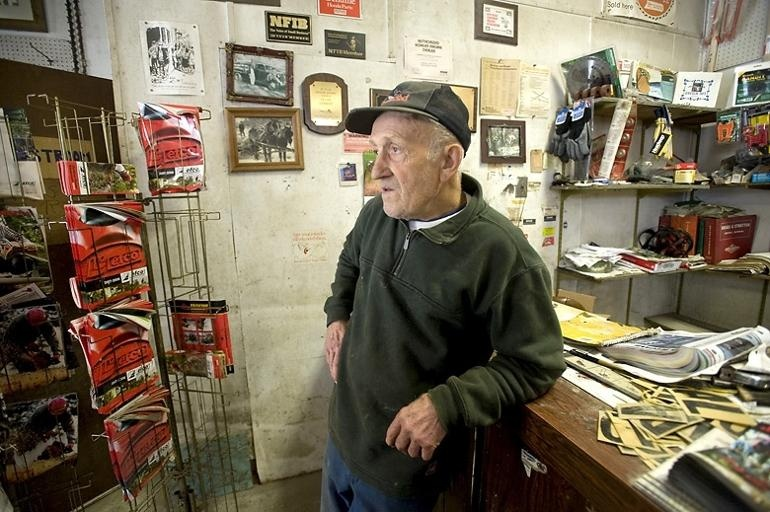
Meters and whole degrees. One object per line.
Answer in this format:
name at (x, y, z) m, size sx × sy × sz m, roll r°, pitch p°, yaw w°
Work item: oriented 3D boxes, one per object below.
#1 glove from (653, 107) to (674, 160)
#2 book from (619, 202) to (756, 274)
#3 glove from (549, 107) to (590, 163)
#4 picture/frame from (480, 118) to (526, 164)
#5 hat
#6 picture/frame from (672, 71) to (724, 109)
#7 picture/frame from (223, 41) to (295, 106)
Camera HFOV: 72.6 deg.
glove at (2.035, -0.897, 3.851) m, size 0.135 × 0.379 × 0.287 m, roll 3°, pitch 12°, yaw 26°
book at (2.266, -0.180, 3.992) m, size 0.970 × 0.439 × 0.483 m, roll -6°, pitch 11°, yaw -18°
glove at (1.276, -0.842, 3.611) m, size 0.141 × 0.434 × 0.377 m, roll 2°, pitch 3°, yaw -19°
picture/frame at (0.804, -0.815, 3.650) m, size 0.313 × 0.281 × 0.044 m, roll -1°, pitch 7°, yaw -20°
hat at (0.101, -0.645, 2.531) m, size 0.502 × 0.250 × 0.354 m, roll 17°, pitch 4°, yaw -15°
picture/frame at (2.236, -1.211, 3.817) m, size 0.303 × 0.302 × 0.286 m, roll 10°, pitch 20°, yaw 17°
picture/frame at (-0.796, -1.130, 3.213) m, size 0.390 × 0.371 × 0.067 m, roll 1°, pitch 12°, yaw -10°
